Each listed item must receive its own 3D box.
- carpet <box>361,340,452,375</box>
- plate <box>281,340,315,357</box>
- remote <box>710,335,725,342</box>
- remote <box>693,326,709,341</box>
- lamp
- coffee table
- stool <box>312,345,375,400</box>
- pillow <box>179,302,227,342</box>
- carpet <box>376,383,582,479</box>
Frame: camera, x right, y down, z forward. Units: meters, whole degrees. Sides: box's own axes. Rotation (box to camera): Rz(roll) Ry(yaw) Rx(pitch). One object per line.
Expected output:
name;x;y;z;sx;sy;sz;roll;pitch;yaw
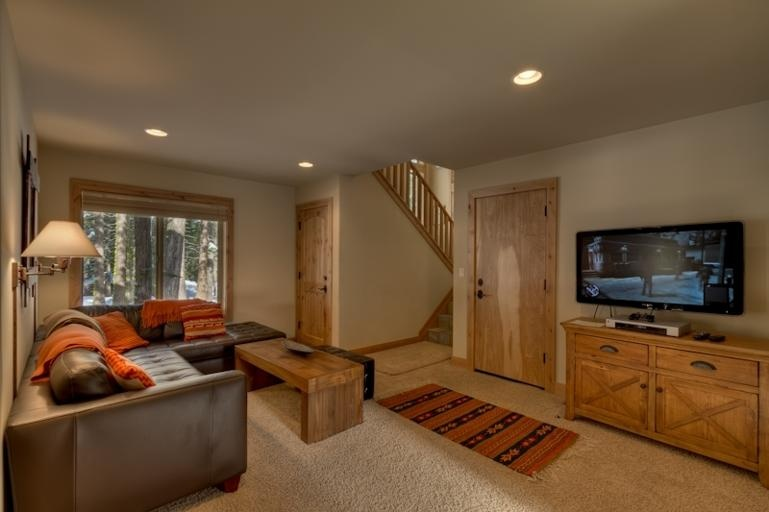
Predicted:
carpet;0.350;1.333;6.707;0.946;0.140;1.548;-3;-1;44
plate;-0.917;0.937;5.184;0.132;0.052;0.383;2;1;-32
remote;2.776;0.688;4.248;0.186;0.048;0.096;-1;-1;-39
remote;2.705;0.664;4.352;0.118;0.056;0.102;-3;3;-41
lamp;-2.683;0.000;4.205;0.680;0.577;0.560;0;1;-13
coffee table;-0.884;1.255;5.102;0.728;0.558;1.371;-4;10;-40
stool;-0.335;1.149;5.350;0.608;0.370;0.314;8;2;-28
pillow;-2.016;0.711;5.692;0.404;0.386;0.108;1;-27;-30
carpet;0.876;1.601;4.828;1.648;0.660;0.843;-2;-1;42
